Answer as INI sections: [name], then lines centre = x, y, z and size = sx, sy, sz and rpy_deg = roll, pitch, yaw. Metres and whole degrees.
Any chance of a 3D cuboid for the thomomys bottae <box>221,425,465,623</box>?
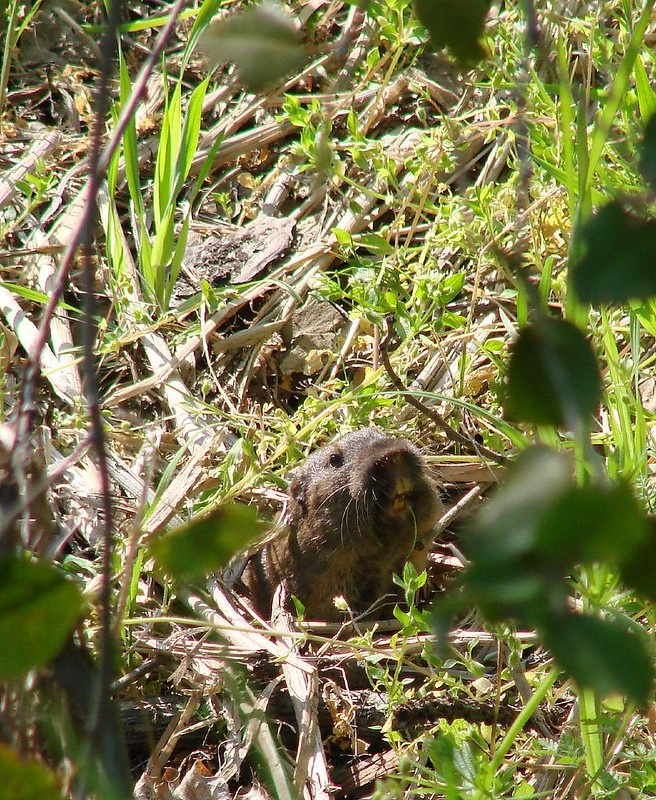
[thomomys bottae]
centre = 0.068, 0.461, 3.489
size = 0.457, 0.899, 0.497
rpy_deg = 52, 37, -3
